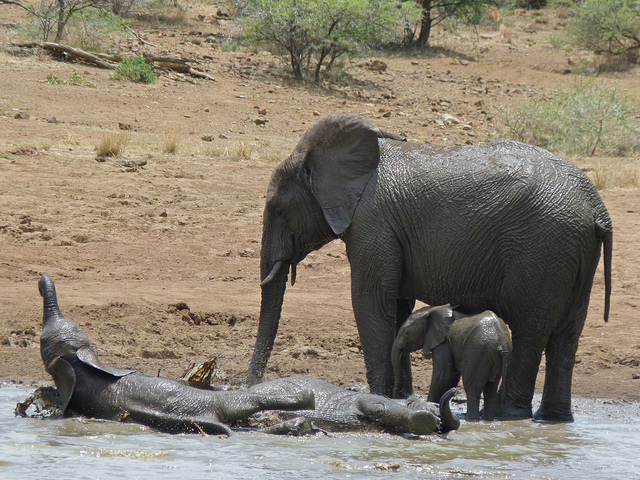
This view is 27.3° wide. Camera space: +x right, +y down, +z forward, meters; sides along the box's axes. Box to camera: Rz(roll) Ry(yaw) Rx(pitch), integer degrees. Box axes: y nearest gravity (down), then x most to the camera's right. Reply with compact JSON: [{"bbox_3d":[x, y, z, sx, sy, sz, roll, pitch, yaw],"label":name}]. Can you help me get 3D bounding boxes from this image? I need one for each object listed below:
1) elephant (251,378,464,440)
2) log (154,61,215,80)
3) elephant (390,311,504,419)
[{"bbox_3d":[0.668,2.210,17.748,2.434,0.997,0.902,4,26,4],"label":"elephant"},{"bbox_3d":[-3.582,-4.370,34.090,2.027,0.237,0.326,16,2,0],"label":"log"},{"bbox_3d":[1.873,1.735,18.637,1.139,1.382,1.946,9,-1,-44],"label":"elephant"}]
